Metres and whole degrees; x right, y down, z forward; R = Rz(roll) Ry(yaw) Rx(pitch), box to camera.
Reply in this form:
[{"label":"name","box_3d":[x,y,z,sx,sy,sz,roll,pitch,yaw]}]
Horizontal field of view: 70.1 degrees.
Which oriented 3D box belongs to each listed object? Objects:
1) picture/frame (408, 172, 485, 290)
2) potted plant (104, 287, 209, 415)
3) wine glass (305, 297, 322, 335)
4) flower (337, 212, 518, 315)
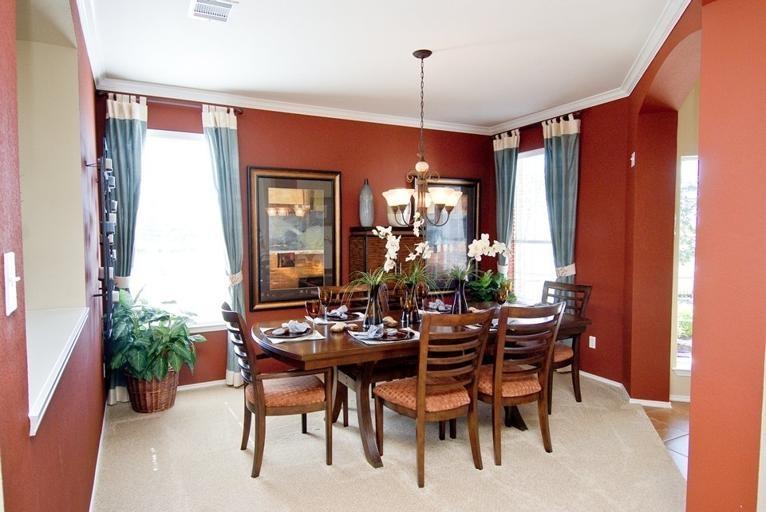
[{"label":"picture/frame","box_3d":[0.870,-0.278,6.931,0.074,1.357,1.121,1,-2,44]},{"label":"potted plant","box_3d":[-2.126,0.970,5.300,0.796,1.013,0.890,-14,-13,29]},{"label":"wine glass","box_3d":[-0.587,0.470,4.624,0.106,0.295,0.415,-2,13,-8]},{"label":"flower","box_3d":[0.436,0.079,5.801,1.136,1.036,0.392,-3,7,-29]}]
